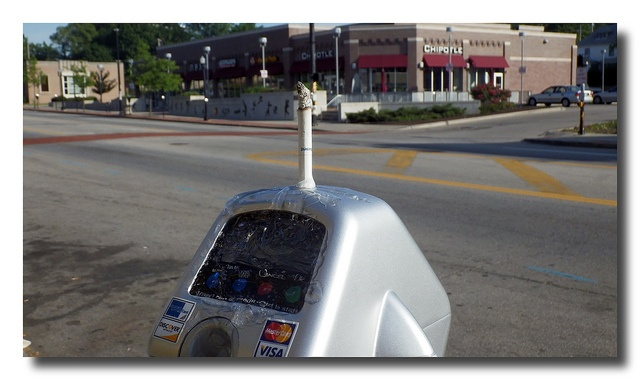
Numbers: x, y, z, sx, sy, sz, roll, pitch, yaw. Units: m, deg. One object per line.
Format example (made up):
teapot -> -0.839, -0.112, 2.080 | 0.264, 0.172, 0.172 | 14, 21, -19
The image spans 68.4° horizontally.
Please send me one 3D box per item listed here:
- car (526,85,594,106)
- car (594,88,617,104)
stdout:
car -> 22.114, -8.699, 44.188 | 4.069, 1.918, 1.831 | 7, 13, 35
car -> 28.064, -9.056, 46.258 | 1.941, 1.156, 1.147 | 9, 14, 42
